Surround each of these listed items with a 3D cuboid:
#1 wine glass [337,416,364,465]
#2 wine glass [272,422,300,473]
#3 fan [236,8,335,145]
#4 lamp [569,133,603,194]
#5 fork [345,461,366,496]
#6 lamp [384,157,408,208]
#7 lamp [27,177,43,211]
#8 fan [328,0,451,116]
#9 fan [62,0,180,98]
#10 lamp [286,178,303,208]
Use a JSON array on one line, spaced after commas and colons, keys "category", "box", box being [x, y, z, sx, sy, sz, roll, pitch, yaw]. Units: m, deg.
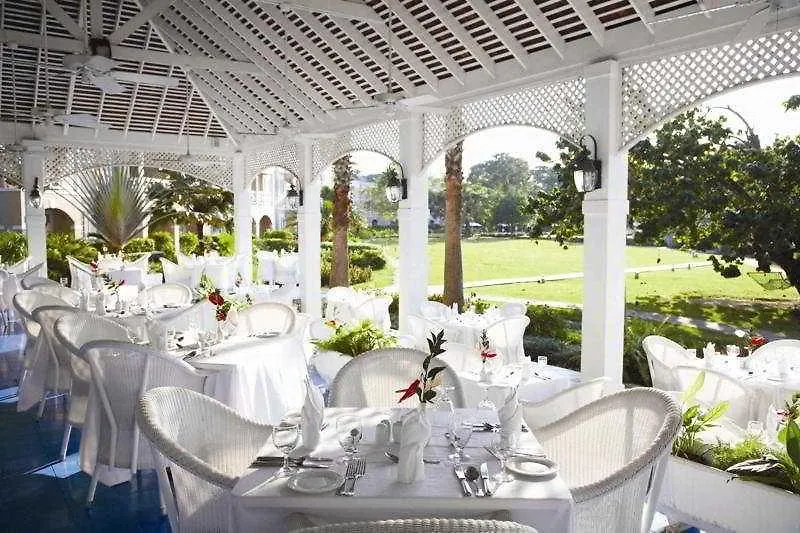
[{"category": "wine glass", "box": [-0.339, 1.196, 3.978, 0.151, 0.192, 0.501, 0, -3, -6]}, {"category": "wine glass", "box": [-0.739, 1.159, 3.845, 0.154, 0.216, 0.319, -7, 14, -9]}, {"category": "fan", "box": [-1.796, -3.080, 9.464, 1.477, 2.082, 2.280, -8, 14, -13]}, {"category": "lamp", "box": [2.064, -1.117, 6.394, 0.276, 0.637, 0.442, 0, 14, 18]}, {"category": "fork", "box": [-0.292, 1.324, 3.683, 0.053, 0.036, 0.246, 5, 29, 6]}, {"category": "lamp", "box": [-0.043, -1.214, 8.668, 0.330, 0.621, 0.804, -5, 14, -1]}, {"category": "lamp", "box": [-6.863, -1.360, 10.963, 0.259, 0.587, 0.740, -12, 15, -31]}, {"category": "fan", "box": [-0.069, -2.685, 7.645, 1.316, 1.991, 1.464, -1, -26, 0]}, {"category": "fan", "box": [-3.391, -2.520, 7.166, 0.430, 1.346, 1.210, 11, 5, 42]}, {"category": "lamp", "box": [-1.997, -1.331, 11.122, 0.325, 0.474, 0.980, -7, 14, -10]}]
